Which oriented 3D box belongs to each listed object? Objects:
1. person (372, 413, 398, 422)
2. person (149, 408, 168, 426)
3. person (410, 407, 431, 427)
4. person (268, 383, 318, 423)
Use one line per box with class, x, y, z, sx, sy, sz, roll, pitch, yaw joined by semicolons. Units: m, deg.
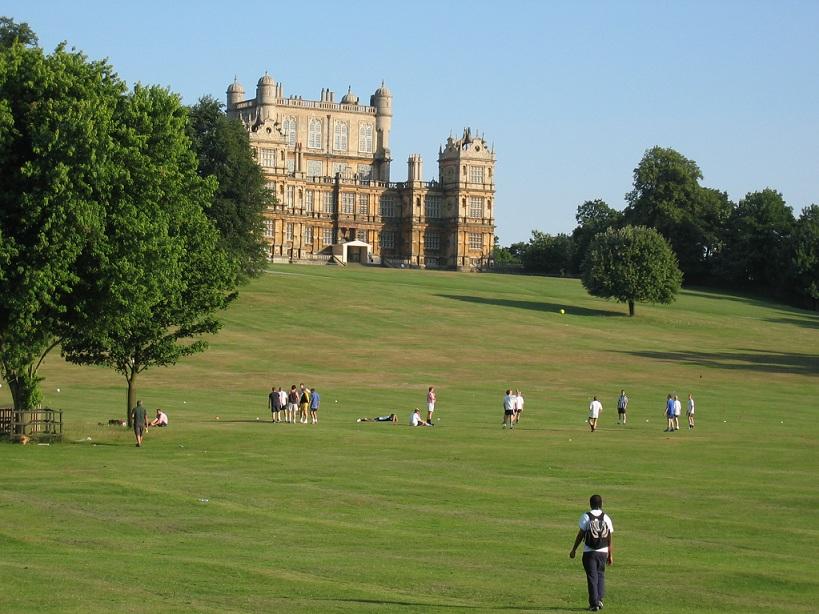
person;-1.175;5.203;97.253;1.194;0.470;0.405;2;-1;9
person;-11.277;4.966;92.273;0.699;0.927;0.905;7;-3;-43
person;0.543;5.138;95.513;1.103;0.788;0.557;-3;6;-16
person;-5.620;4.592;97.172;1.680;1.380;0.462;1;4;2
